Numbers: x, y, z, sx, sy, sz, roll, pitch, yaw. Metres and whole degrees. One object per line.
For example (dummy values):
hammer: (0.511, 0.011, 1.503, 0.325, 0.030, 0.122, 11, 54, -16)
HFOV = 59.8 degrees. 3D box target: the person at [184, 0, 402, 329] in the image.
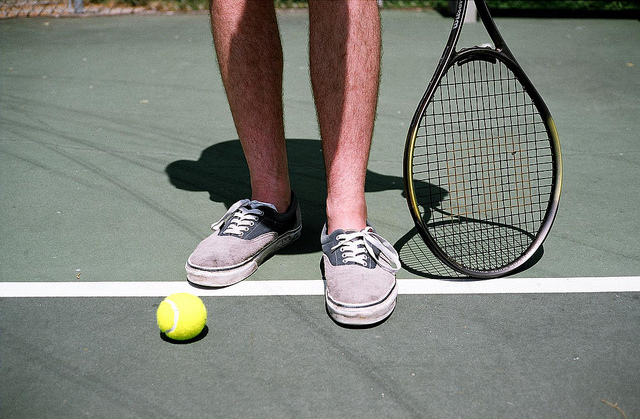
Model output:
person: (-0.062, -0.380, 3.004, 1.209, 1.565, 1.507, 1, 15, 5)
